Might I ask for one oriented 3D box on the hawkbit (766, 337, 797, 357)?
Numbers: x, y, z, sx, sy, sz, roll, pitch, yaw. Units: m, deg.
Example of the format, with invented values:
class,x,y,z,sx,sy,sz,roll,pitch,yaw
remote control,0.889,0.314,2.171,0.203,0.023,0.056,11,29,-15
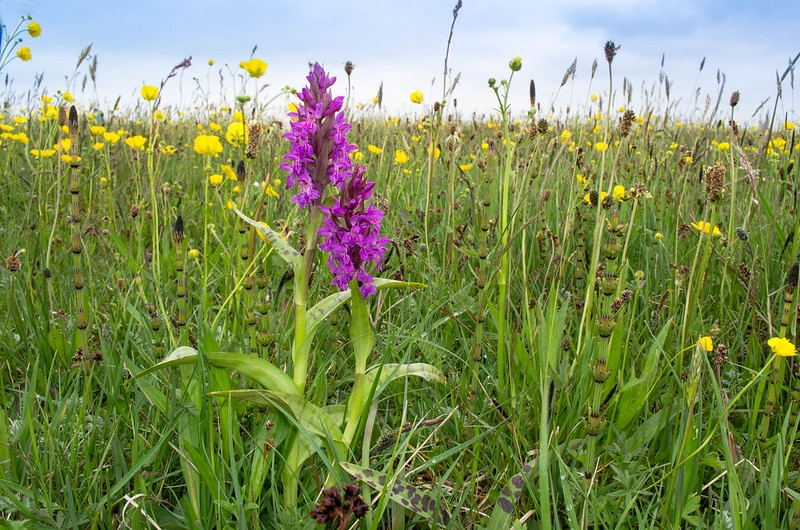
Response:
class,x,y,z,sx,sy,sz,roll,pitch,yaw
hawkbit,1.593,0.346,2.479,0.086,0.084,0.136,5,7,31
